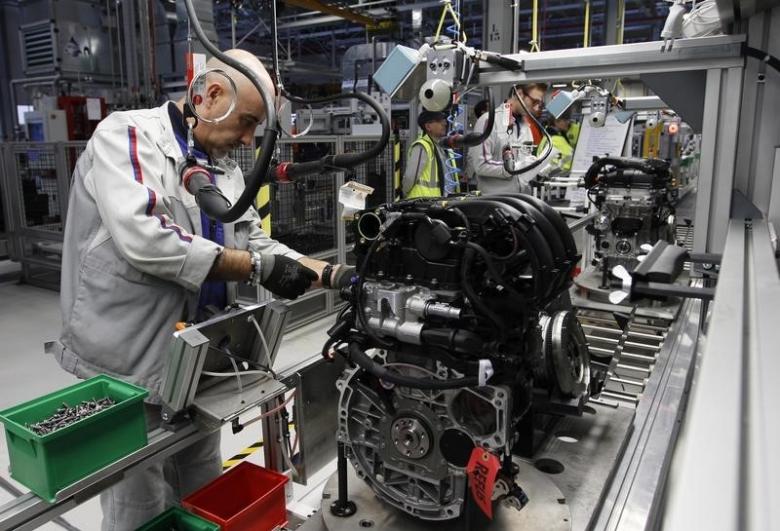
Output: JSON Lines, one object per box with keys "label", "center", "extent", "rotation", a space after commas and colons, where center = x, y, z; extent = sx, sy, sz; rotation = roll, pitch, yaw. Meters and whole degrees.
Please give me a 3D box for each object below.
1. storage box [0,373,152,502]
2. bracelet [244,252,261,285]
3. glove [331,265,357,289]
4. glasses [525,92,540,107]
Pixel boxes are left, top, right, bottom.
{"label": "storage box", "center": [-1.062, 0.536, 1.667], "extent": [0.368, 0.232, 0.372], "rotation": [7, 18, 40]}
{"label": "bracelet", "center": [-0.570, 0.019, 2.096], "extent": [0.052, 0.118, 0.092], "rotation": [2, 8, -10]}
{"label": "glove", "center": [-0.202, 0.061, 2.128], "extent": [0.089, 0.054, 0.122], "rotation": [-3, 56, 23]}
{"label": "glasses", "center": [1.515, -1.752, 5.280], "extent": [0.056, 0.193, 0.180], "rotation": [10, 1, 36]}
